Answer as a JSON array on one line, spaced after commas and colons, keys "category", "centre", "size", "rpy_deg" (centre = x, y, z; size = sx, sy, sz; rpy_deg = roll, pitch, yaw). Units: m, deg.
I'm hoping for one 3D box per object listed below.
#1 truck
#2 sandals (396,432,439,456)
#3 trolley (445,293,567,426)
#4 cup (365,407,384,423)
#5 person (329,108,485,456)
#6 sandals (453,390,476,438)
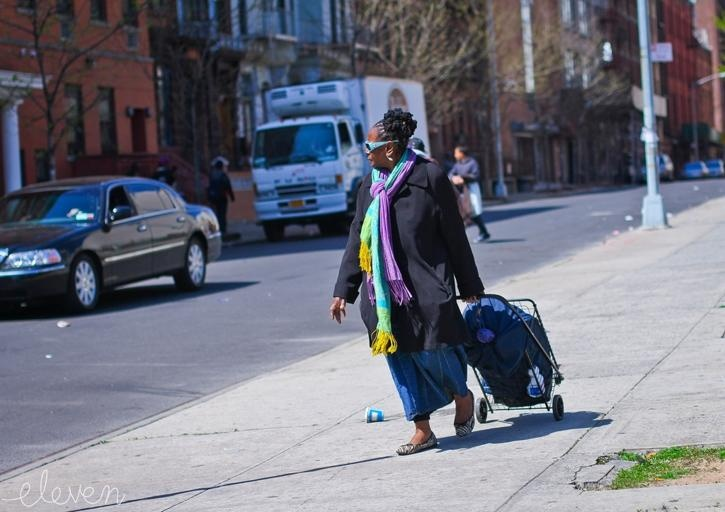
[{"category": "truck", "centre": [-0.763, -2.487, 29.253], "size": [2.120, 3.419, 6.235], "rpy_deg": [-2, 0, 18]}, {"category": "sandals", "centre": [0.477, 1.598, 9.821], "size": [0.392, 0.158, 0.141], "rpy_deg": [-3, -2, -38]}, {"category": "trolley", "centre": [1.295, 0.938, 10.191], "size": [0.780, 1.144, 1.303], "rpy_deg": [-3, 0, 32]}, {"category": "cup", "centre": [0.126, 1.451, 10.511], "size": [0.101, 0.132, 0.128], "rpy_deg": [3, 5, -5]}, {"category": "person", "centre": [0.471, 0.215, 9.690], "size": [1.004, 2.863, 0.470], "rpy_deg": [-5, 9, 2]}, {"category": "sandals", "centre": [0.880, 1.374, 9.930], "size": [0.141, 0.414, 0.104], "rpy_deg": [5, 8, 30]}]
